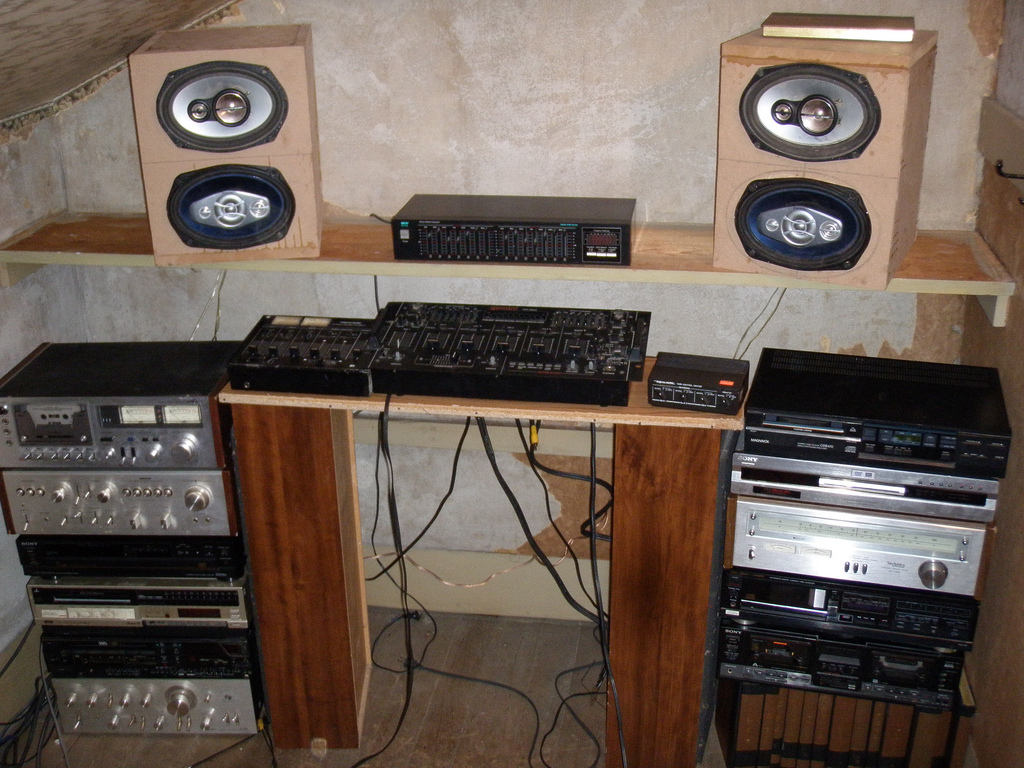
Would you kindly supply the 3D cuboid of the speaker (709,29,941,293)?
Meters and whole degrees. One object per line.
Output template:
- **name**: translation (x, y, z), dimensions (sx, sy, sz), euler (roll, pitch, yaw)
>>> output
- **speaker**: translation (0.858, -0.644, 2.501), dimensions (0.479, 0.623, 0.429), euler (12, 32, 27)

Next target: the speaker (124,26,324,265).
- **speaker**: translation (-0.811, -0.621, 2.683), dimensions (0.460, 0.606, 0.349), euler (-6, -2, -10)
